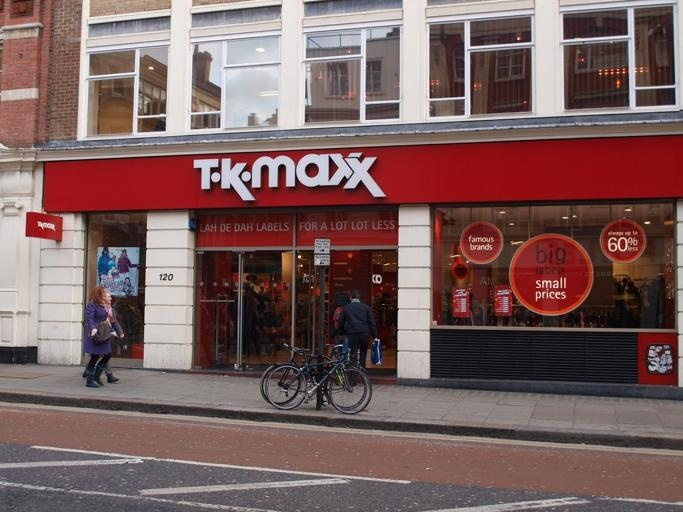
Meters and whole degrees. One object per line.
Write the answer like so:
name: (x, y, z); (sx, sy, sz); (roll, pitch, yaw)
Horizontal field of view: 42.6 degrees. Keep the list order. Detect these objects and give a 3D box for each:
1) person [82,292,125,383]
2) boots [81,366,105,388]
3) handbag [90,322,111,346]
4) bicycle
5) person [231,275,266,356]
person: (-5.340, 1.863, 19.797); (0.798, 2.340, 0.795); (-4, 17, -26)
boots: (-5.521, 2.692, 19.392); (0.445, 0.401, 0.377); (0, -2, -13)
handbag: (-5.289, 1.703, 19.217); (0.419, 0.423, 0.180); (-34, 8, -9)
bicycle: (-0.483, 2.511, 17.508); (2.199, 1.189, 0.480); (0, -5, 13)
person: (-2.300, 1.485, 22.011); (0.717, 2.031, 0.248); (1, -5, -1)
